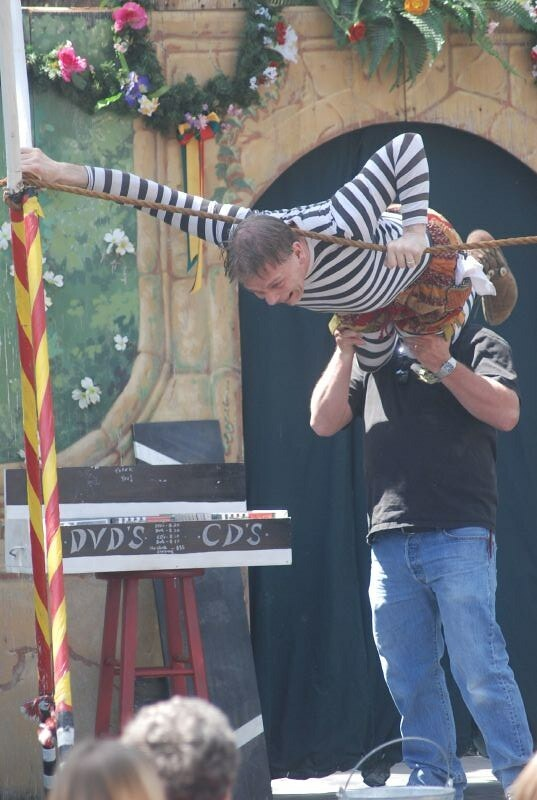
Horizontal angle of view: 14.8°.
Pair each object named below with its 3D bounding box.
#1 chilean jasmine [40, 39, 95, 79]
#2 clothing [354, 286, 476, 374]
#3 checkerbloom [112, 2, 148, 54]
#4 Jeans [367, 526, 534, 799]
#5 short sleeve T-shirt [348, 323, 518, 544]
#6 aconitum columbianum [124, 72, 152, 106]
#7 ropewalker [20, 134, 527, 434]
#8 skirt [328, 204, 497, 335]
[{"bbox_3d":[-0.724,-1.207,7.429,0.171,0.146,0.083,0,20,-13],"label":"chilean jasmine"},{"bbox_3d":[0.479,-0.287,6.786,0.438,0.223,0.387,2,1,14],"label":"clothing"},{"bbox_3d":[-0.496,-1.344,7.467,0.142,0.184,0.100,-1,20,-17],"label":"checkerbloom"},{"bbox_3d":[0.620,0.789,6.694,0.301,0.718,0.777,-9,25,-34],"label":"Jeans"},{"bbox_3d":[0.530,0.108,6.813,0.501,0.656,0.331,-18,-30,33],"label":"short sleeve T-shirt"},{"bbox_3d":[-0.474,-1.114,7.458,0.094,0.109,0.060,1,-3,17],"label":"aconitum columbianum"},{"bbox_3d":[0.091,-0.428,6.521,1.743,0.941,1.012,-18,17,-32],"label":"ropewalker"},{"bbox_3d":[0.484,-0.342,6.627,0.537,0.319,0.229,-35,-4,-34],"label":"skirt"}]
